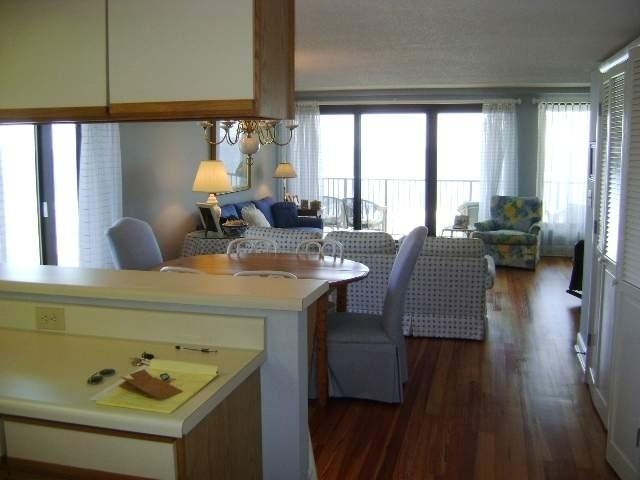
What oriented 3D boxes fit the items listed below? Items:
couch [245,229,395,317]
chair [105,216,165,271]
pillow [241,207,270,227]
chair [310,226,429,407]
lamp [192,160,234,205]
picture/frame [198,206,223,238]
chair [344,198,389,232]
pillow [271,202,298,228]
[{"bbox_3d":[0.258,0.213,4.561,1.306,0.654,0.636,2,18,10],"label":"couch"},{"bbox_3d":[-1.377,0.029,4.038,0.210,0.385,0.451,5,11,22],"label":"chair"},{"bbox_3d":[-0.823,-0.282,6.769,0.331,0.244,0.712,-1,11,-6],"label":"pillow"},{"bbox_3d":[0.343,0.413,4.075,0.912,1.630,1.005,2,5,11],"label":"chair"},{"bbox_3d":[-1.053,-0.604,5.397,0.397,0.490,0.437,-1,7,-3],"label":"lamp"},{"bbox_3d":[-1.060,-0.181,5.209,0.100,0.244,0.336,-31,15,-26],"label":"picture/frame"},{"bbox_3d":[0.758,-0.460,9.414,0.645,0.827,0.612,1,6,24],"label":"chair"},{"bbox_3d":[-0.517,-0.376,7.790,0.345,0.391,0.148,2,-10,-6],"label":"pillow"}]
